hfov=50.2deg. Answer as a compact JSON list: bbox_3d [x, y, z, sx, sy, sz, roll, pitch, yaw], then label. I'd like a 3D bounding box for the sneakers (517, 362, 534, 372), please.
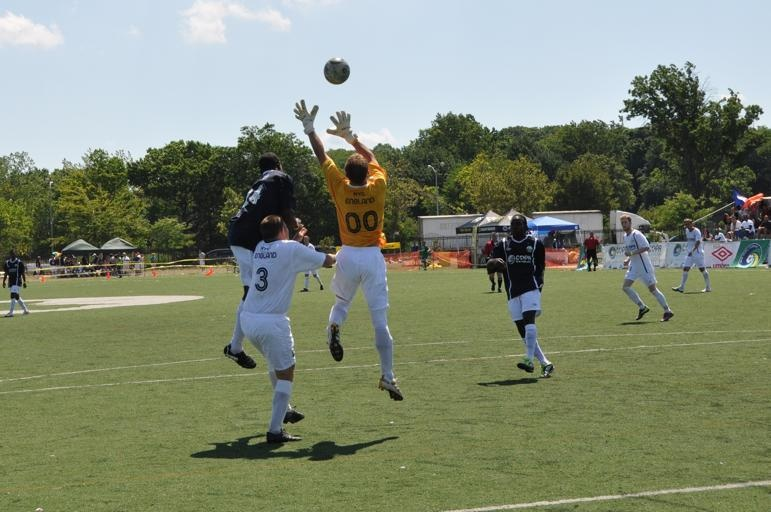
[{"bbox_3d":[2.145,1.708,12.579,0.301,0.122,0.181,17,-19,-21],"label":"sneakers"}]

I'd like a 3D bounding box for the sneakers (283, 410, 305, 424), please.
[{"bbox_3d":[-1.161,2.030,10.393,0.362,0.180,0.120,-2,8,-2],"label":"sneakers"}]

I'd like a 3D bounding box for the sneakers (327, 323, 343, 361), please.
[{"bbox_3d":[-0.648,1.143,10.667,0.193,0.499,0.230,-12,3,1],"label":"sneakers"}]

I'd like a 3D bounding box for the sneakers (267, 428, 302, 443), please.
[{"bbox_3d":[-1.235,2.190,10.029,0.427,0.183,0.152,-1,4,-9],"label":"sneakers"}]

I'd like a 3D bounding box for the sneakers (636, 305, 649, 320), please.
[{"bbox_3d":[5.690,1.252,18.197,0.138,0.294,0.106,24,38,-15],"label":"sneakers"}]

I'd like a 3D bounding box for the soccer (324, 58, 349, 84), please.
[{"bbox_3d":[-0.670,-2.586,11.411,0.311,0.357,0.439,-2,6,-5],"label":"soccer"}]

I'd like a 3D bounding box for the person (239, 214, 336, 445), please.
[{"bbox_3d":[-1.265,0.875,10.170,0.845,2.724,0.699,-7,8,-37],"label":"person"}]

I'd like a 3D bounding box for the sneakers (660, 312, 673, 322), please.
[{"bbox_3d":[6.035,1.273,17.650,0.220,0.208,0.512,1,7,22],"label":"sneakers"}]

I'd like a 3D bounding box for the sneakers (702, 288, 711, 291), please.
[{"bbox_3d":[9.458,0.992,24.206,0.235,0.106,0.439,0,6,19],"label":"sneakers"}]

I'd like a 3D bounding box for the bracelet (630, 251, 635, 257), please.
[{"bbox_3d":[5.486,-0.066,18.230,0.050,0.077,0.210,12,-4,24],"label":"bracelet"}]

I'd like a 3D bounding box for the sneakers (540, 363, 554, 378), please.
[{"bbox_3d":[2.516,1.765,12.571,0.157,0.208,0.217,26,-36,-15],"label":"sneakers"}]

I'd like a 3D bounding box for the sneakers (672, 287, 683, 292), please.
[{"bbox_3d":[8.545,0.985,23.979,0.348,0.152,0.116,12,10,12],"label":"sneakers"}]
